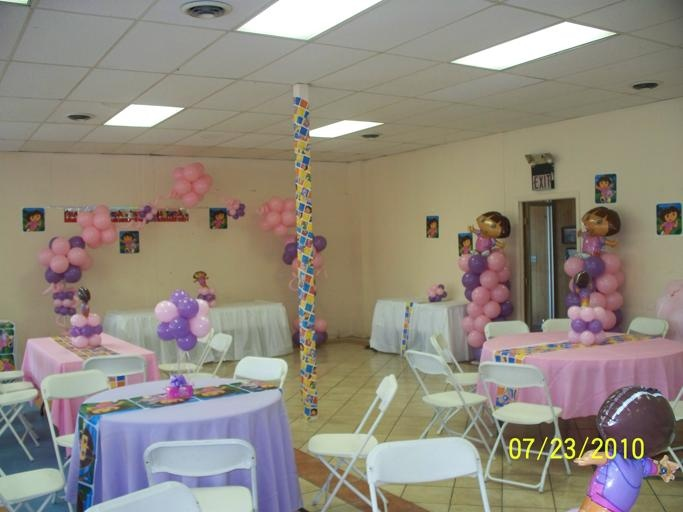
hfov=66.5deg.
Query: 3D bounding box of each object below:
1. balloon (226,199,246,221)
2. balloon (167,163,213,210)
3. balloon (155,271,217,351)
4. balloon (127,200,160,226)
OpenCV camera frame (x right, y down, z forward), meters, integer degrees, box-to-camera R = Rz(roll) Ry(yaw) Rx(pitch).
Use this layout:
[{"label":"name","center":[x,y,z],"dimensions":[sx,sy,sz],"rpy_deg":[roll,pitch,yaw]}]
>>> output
[{"label":"balloon","center":[-1.960,-0.860,9.774],"dimensions":[0.351,0.239,0.350],"rpy_deg":[-4,11,-28]},{"label":"balloon","center":[-2.583,-1.330,8.963],"dimensions":[0.634,0.809,0.334],"rpy_deg":[14,30,-25]},{"label":"balloon","center":[-1.419,0.589,4.663],"dimensions":[0.440,0.550,0.294],"rpy_deg":[-4,4,-21]},{"label":"balloon","center":[-3.584,-0.737,9.443],"dimensions":[0.496,0.419,0.586],"rpy_deg":[-4,4,-23]}]
